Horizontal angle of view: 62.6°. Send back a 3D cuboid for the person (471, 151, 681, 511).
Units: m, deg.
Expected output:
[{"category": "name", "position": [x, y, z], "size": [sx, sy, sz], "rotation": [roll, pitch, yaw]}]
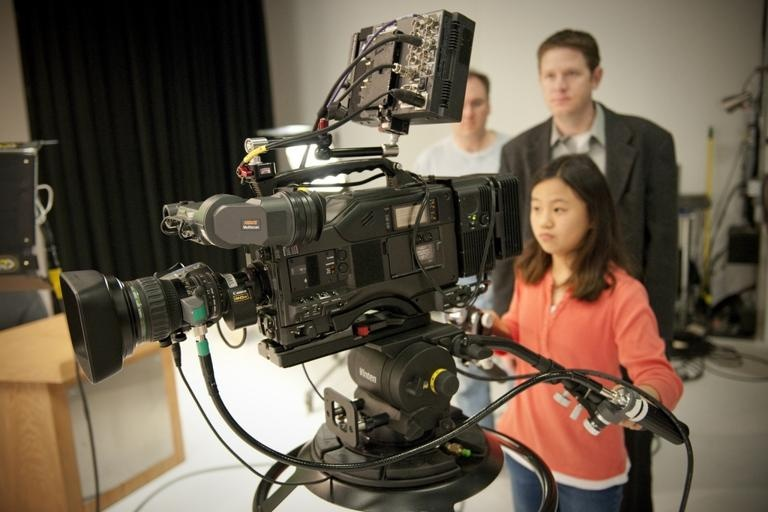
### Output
[{"category": "person", "position": [0.896, 0.444, 2.916], "size": [0.831, 1.797, 0.583], "rotation": [0, 9, 24]}]
